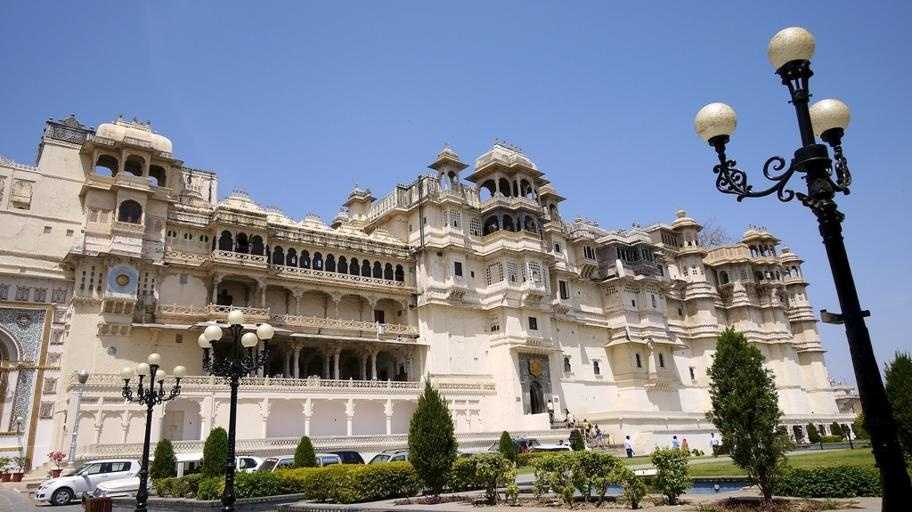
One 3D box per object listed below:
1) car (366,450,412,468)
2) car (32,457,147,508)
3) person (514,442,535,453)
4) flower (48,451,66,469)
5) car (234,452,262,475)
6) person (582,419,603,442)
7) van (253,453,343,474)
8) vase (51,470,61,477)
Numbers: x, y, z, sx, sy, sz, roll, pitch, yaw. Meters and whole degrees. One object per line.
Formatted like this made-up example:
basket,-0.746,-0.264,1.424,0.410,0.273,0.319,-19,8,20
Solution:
car,-3.822,11.627,34.123,1.938,0.720,6.894,-2,-19,-7
car,-20.857,12.968,33.727,5.254,1.878,2.407,6,-20,-24
person,4.924,13.719,42.119,0.954,0.420,0.556,0,-10,-25
flower,-26.591,13.669,39.178,1.231,1.197,1.070,16,-32,-34
car,-12.171,12.118,34.185,2.310,1.050,1.434,14,-24,-19
person,12.035,15.553,51.407,1.032,1.850,1.616,-17,-24,28
van,-8.999,12.004,33.943,3.868,1.216,2.016,11,-19,-27
vase,-25.460,13.868,37.454,0.558,0.485,0.551,-14,-18,40
